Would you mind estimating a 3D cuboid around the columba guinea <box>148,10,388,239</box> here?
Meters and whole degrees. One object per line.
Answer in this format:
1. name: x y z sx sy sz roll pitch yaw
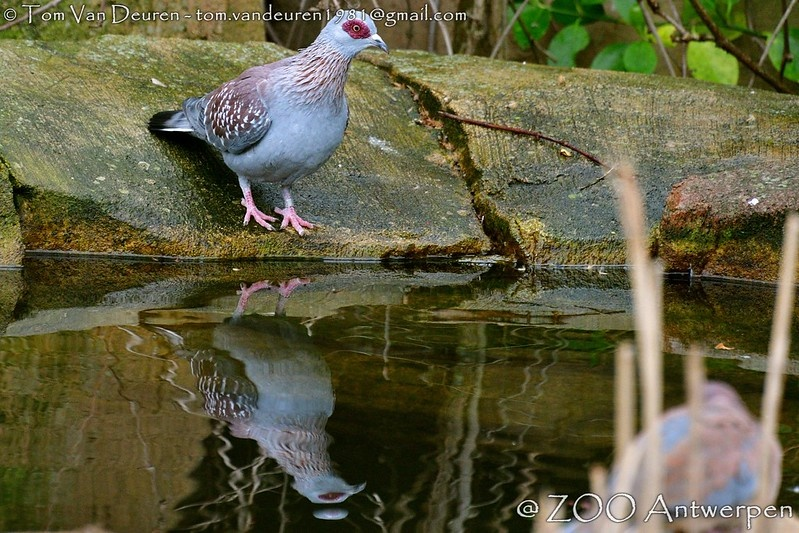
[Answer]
1. columba guinea: -0.750 -0.810 6.635 1.337 1.364 0.546 1 24 26
